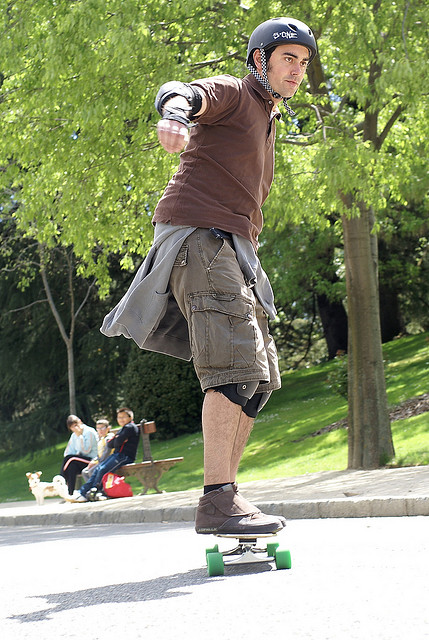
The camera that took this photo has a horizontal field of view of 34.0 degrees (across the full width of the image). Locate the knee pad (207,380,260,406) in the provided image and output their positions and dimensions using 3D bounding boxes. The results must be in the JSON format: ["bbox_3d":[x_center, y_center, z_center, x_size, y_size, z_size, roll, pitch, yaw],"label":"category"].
[{"bbox_3d":[0.082,0.272,2.610,0.155,0.061,0.100,3,-5,8],"label":"knee pad"}]

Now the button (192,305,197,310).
[{"bbox_3d":[-0.077,-0.048,2.645,0.003,0.016,0.020,-8,3,-44],"label":"button"}]

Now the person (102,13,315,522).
[{"bbox_3d":[0.071,-0.237,2.798,0.837,1.947,0.652,-8,1,-30],"label":"person"}]

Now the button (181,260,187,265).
[{"bbox_3d":[-0.117,-0.219,2.672,0.023,0.017,0.004,-5,2,28],"label":"button"}]

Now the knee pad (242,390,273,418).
[{"bbox_3d":[0.198,0.346,2.907,0.038,0.124,0.093,47,-16,-29],"label":"knee pad"}]

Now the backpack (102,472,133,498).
[{"bbox_3d":[-1.277,2.156,9.110,0.397,0.267,0.159,26,-40,-23],"label":"backpack"}]

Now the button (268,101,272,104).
[{"bbox_3d":[0.234,-0.909,2.939,0.004,0.010,0.017,-6,0,44],"label":"button"}]

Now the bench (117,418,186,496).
[{"bbox_3d":[-1.376,1.989,10.279,1.685,0.959,0.698,-2,-16,32],"label":"bench"}]
